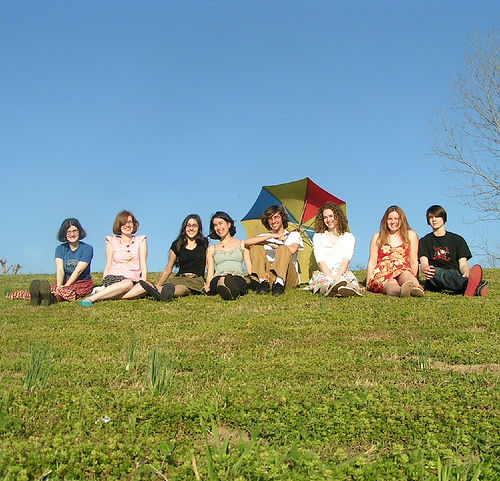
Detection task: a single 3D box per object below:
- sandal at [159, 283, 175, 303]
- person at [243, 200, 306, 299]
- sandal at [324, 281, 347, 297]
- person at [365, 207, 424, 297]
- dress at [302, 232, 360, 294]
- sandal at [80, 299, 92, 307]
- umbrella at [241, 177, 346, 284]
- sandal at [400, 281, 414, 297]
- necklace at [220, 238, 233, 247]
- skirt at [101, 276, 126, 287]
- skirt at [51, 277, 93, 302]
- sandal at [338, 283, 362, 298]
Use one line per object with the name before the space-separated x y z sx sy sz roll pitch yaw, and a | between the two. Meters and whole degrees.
sandal | -1.593 1.022 8.802 0.175 0.406 0.132 15 -7 3
person | 0.503 0.252 10.183 1.027 2.375 1.253 -10 -25 27
sandal | 1.688 0.975 8.966 0.176 0.239 0.563 10 -43 -30
person | 3.108 0.241 9.327 0.907 1.824 1.323 -3 7 -25
dress | 1.805 0.460 9.953 0.959 1.697 1.479 0 -13 9
sandal | -3.141 1.202 8.608 0.175 0.086 0.110 4 -3 1
umbrella | 1.075 -0.889 12.472 2.494 2.530 1.753 38 22 -7
sandal | 3.044 0.945 8.735 0.240 0.358 0.263 -1 6 -1
necklace | -0.503 0.058 9.781 0.040 0.121 0.366 -35 -2 26
skirt | -2.802 0.849 9.177 0.564 0.214 0.214 1 7 14
skirt | -3.901 1.024 9.834 0.536 0.460 1.092 1 8 17
sandal | 1.975 1.042 8.902 0.214 0.235 0.567 -41 -36 18
